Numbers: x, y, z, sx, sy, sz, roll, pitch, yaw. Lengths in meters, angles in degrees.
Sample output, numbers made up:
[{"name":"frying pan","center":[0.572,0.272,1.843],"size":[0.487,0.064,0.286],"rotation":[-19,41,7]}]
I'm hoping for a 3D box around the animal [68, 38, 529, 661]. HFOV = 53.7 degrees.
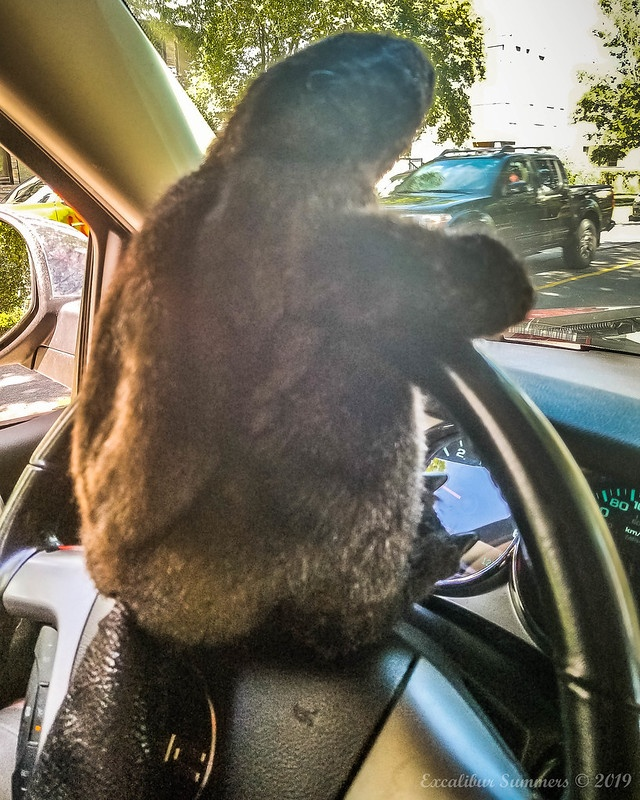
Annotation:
[{"name":"animal","center":[-0.033,-0.089,1.067],"size":[0.635,0.947,0.619],"rotation":[-8,13,-29]}]
